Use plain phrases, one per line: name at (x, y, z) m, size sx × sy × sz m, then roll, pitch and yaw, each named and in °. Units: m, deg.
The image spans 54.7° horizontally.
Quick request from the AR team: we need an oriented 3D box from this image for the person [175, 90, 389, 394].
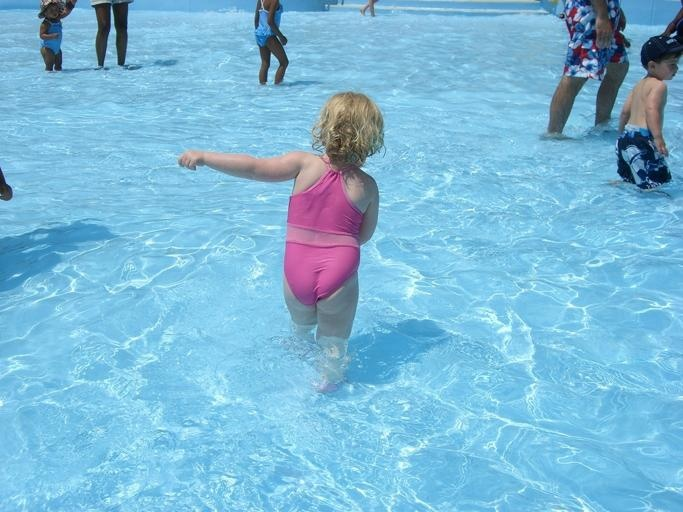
person at (-0.104, -0.118, 3.665) m, size 0.805 × 1.542 × 0.623 m, roll 25°, pitch 33°, yaw 36°
